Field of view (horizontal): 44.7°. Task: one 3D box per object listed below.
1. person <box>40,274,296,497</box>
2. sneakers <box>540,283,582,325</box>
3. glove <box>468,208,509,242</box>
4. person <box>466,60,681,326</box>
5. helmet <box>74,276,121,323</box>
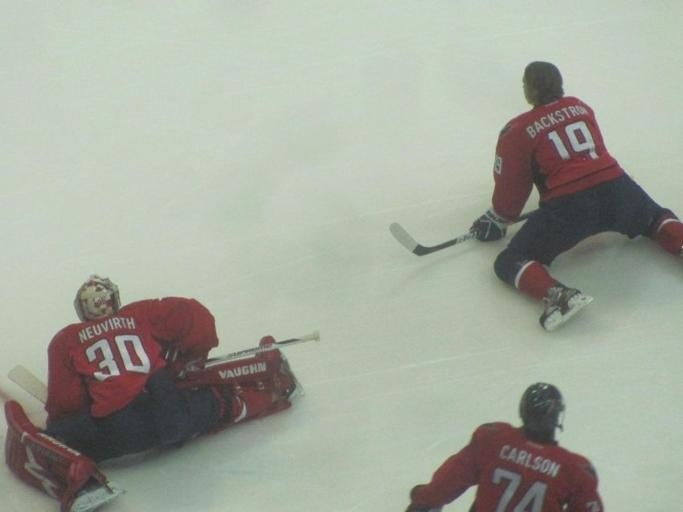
[{"bbox_3d":[-1.311,0.706,5.760,1.064,0.851,1.588,-25,-14,18],"label":"person"},{"bbox_3d":[1.569,0.363,6.059,0.334,0.220,0.209,-47,-25,-2],"label":"sneakers"},{"bbox_3d":[1.178,-0.242,6.668,0.346,0.185,0.161,-8,-27,-19],"label":"glove"},{"bbox_3d":[1.630,-0.632,6.673,1.368,2.001,1.229,-25,-48,4],"label":"person"},{"bbox_3d":[-1.766,0.360,5.969,0.260,0.331,0.330,-3,-31,-31],"label":"helmet"}]
